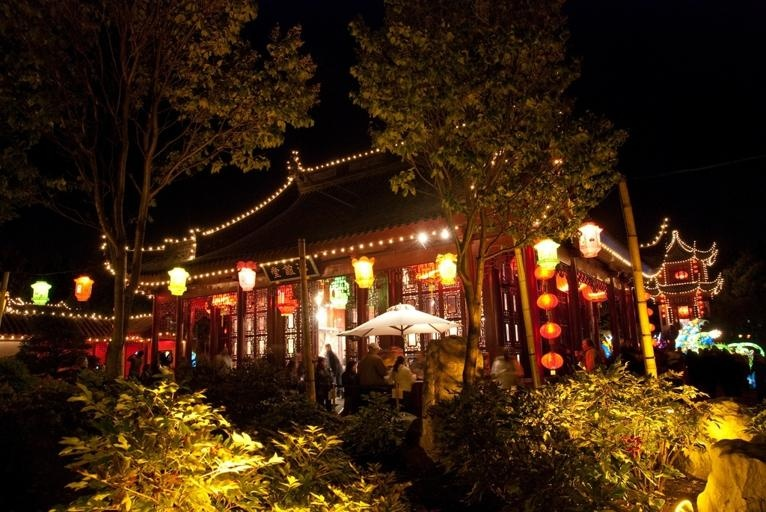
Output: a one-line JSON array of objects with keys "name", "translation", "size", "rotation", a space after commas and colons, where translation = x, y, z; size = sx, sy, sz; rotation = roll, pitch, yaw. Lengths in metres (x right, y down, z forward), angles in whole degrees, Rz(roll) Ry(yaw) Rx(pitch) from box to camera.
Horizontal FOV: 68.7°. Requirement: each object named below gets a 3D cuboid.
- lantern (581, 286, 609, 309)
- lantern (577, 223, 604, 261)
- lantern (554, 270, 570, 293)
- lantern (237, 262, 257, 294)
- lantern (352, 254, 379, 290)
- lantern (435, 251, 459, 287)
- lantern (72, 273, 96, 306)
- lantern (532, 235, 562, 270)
[{"name": "lantern", "translation": [7.264, 1.351, 19.513], "size": [1.045, 0.613, 1.083], "rotation": [-7, -5, 25]}, {"name": "lantern", "translation": [5.491, -0.495, 14.953], "size": [0.554, 0.870, 0.766], "rotation": [-8, -15, 20]}, {"name": "lantern", "translation": [5.585, 0.775, 17.613], "size": [0.513, 0.519, 0.732], "rotation": [-3, 26, 5]}, {"name": "lantern", "translation": [-3.865, 0.590, 16.434], "size": [0.729, 1.152, 0.730], "rotation": [-1, -3, -1]}, {"name": "lantern", "translation": [-0.589, 0.454, 15.349], "size": [0.742, 0.802, 0.804], "rotation": [-8, -9, 24]}, {"name": "lantern", "translation": [1.662, 0.305, 14.768], "size": [0.541, 0.764, 1.515], "rotation": [-4, -14, 5]}, {"name": "lantern", "translation": [-12.355, 1.224, 23.233], "size": [0.548, 1.228, 1.782], "rotation": [3, -15, -24]}, {"name": "lantern", "translation": [3.876, -0.018, 13.252], "size": [0.771, 1.139, 0.868], "rotation": [-4, -7, 18]}]
